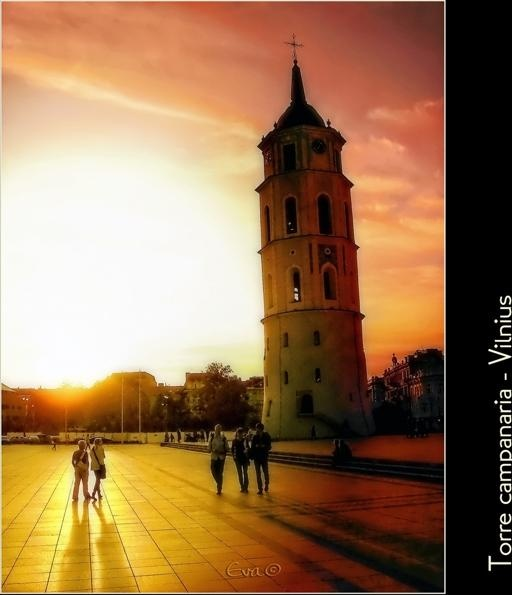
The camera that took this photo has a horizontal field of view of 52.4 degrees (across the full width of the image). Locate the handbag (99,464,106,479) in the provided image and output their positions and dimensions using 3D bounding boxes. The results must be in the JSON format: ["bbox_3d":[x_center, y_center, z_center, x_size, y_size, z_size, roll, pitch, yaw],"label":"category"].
[{"bbox_3d":[-3.248,3.676,10.994,0.172,0.336,0.260,-2,-21,-6],"label":"handbag"}]

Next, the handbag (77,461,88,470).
[{"bbox_3d":[-3.535,3.450,10.641,0.165,0.132,0.175,3,-6,-4],"label":"handbag"}]

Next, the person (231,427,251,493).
[{"bbox_3d":[-0.366,4.093,13.045,0.433,1.686,1.481,-4,-8,-3],"label":"person"}]
